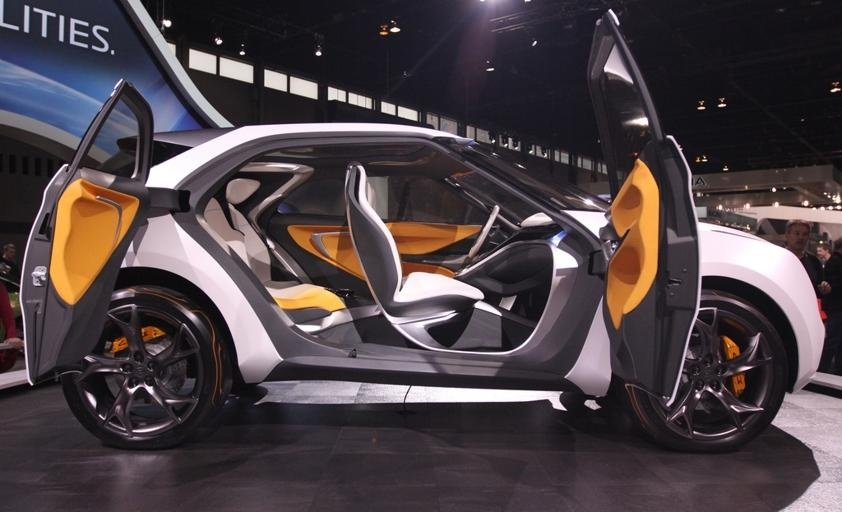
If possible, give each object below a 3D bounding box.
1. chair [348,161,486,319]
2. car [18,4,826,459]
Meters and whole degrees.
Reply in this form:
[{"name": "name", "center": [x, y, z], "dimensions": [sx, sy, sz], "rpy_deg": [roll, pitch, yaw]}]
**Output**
[{"name": "chair", "center": [0.014, -0.064, 4.053], "dimensions": [1.066, 1.245, 0.860], "rpy_deg": [-8, 2, -9]}, {"name": "car", "center": [0.025, 0.099, 4.080], "dimensions": [4.316, 2.122, 3.154], "rpy_deg": [-1, 1, -1]}]
